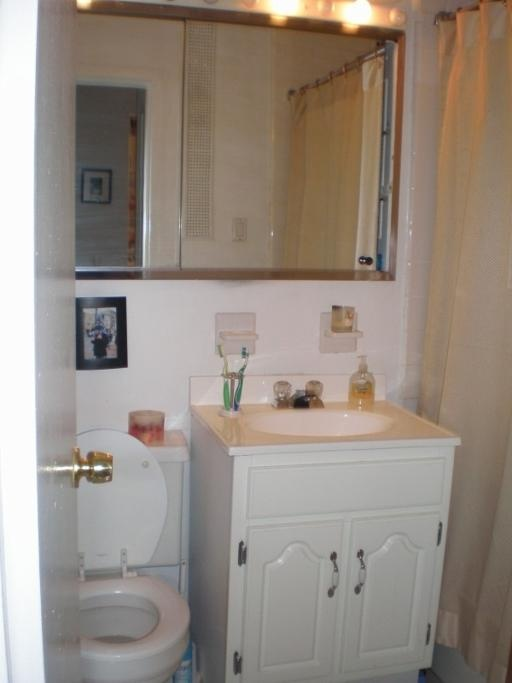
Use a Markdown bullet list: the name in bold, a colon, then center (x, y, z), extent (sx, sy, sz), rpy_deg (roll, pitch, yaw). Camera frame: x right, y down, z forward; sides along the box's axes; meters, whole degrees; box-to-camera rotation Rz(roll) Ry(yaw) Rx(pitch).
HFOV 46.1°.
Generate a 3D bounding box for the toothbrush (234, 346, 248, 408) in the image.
- **toothbrush**: center (-0.043, 0.112, 1.762), extent (0.013, 0.192, 0.019), rpy_deg (6, 5, -30)

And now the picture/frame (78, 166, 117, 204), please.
- **picture/frame**: center (-0.462, -0.458, 1.744), extent (0.086, 0.124, 0.010), rpy_deg (0, 4, -20)

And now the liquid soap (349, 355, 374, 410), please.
- **liquid soap**: center (0.333, 0.126, 1.897), extent (0.076, 0.153, 0.096), rpy_deg (1, 8, 7)

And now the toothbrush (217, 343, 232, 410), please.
- **toothbrush**: center (-0.088, 0.106, 1.759), extent (0.023, 0.187, 0.019), rpy_deg (-1, 0, 5)

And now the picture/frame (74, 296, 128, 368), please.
- **picture/frame**: center (-0.463, -0.034, 1.778), extent (0.158, 0.291, 0.018), rpy_deg (-1, 5, -9)

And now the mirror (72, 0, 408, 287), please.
- **mirror**: center (0.016, -0.593, 1.868), extent (0.961, 0.797, 0.061), rpy_deg (-3, 8, -17)
